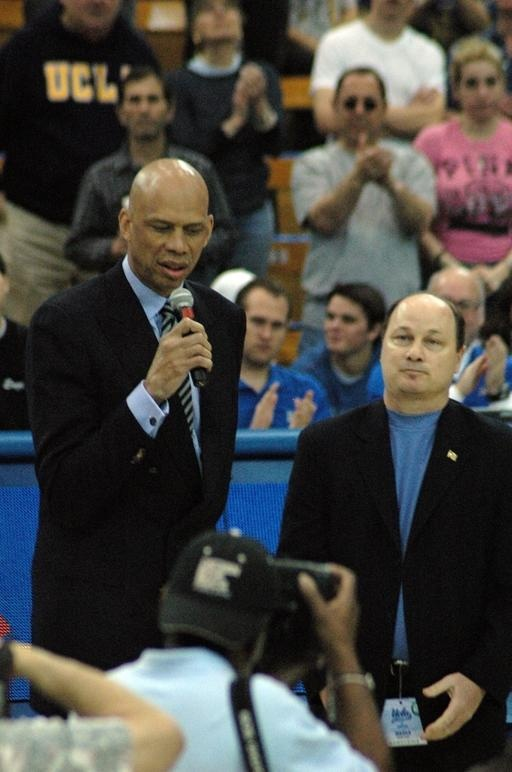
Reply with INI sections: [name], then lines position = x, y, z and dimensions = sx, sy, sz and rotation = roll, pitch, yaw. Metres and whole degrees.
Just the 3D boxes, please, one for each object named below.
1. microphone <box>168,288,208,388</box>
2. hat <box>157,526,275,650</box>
[microphone]
position = -0.201, -0.134, 2.524
dimensions = 0.095, 0.087, 0.279
rotation = -25, 51, 4
[hat]
position = -0.047, 0.324, 1.578
dimensions = 0.169, 0.122, 0.216
rotation = 19, 28, 2
